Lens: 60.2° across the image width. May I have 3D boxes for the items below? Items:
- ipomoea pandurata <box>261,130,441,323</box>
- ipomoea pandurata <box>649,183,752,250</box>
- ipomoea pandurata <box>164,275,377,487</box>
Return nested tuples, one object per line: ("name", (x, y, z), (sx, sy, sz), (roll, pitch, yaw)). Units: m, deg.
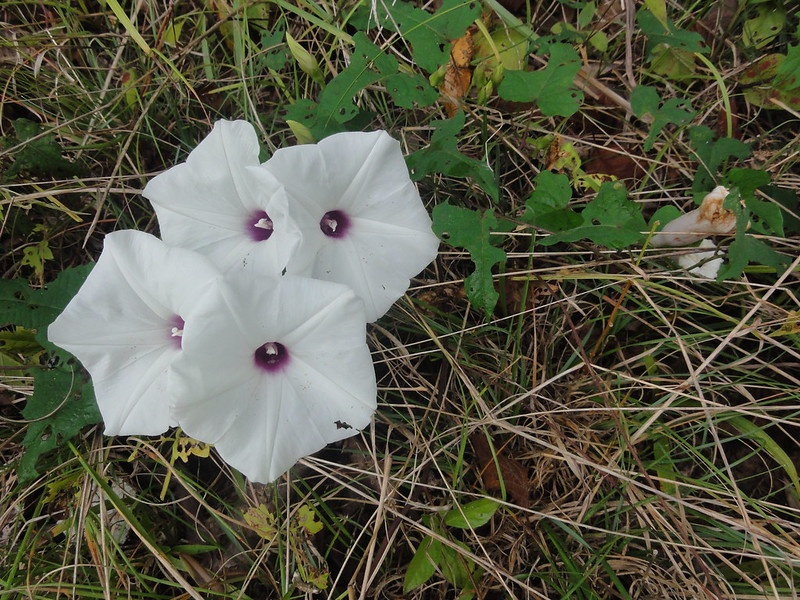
("ipomoea pandurata", (-0.315, -0.430, 3.055), (0.762, 0.779, 0.274), (91, -19, -71))
("ipomoea pandurata", (1.401, -0.379, 3.190), (0.183, 0.437, 0.160), (-42, 104, -35))
("ipomoea pandurata", (-0.459, 0.237, 2.836), (0.833, 0.301, 0.768), (-40, 132, -60))
